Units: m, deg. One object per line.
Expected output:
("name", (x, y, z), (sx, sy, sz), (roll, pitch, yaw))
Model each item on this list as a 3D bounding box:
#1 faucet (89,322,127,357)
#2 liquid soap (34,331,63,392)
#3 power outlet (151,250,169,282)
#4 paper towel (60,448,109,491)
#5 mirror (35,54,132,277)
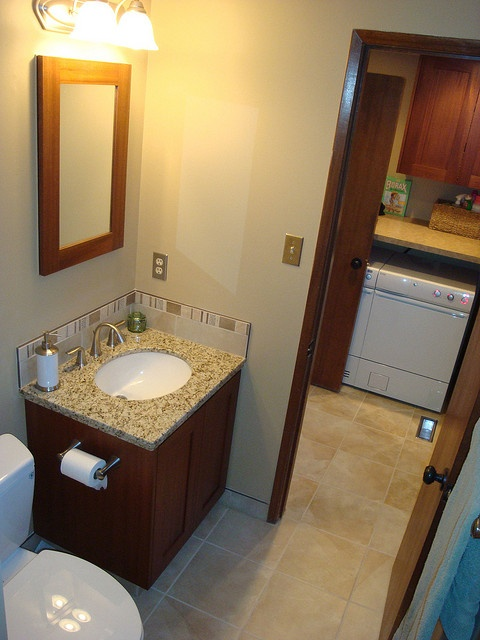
("faucet", (-0.550, 0.083, 2.021), (0.099, 0.145, 0.034), (27, 42, 20))
("liquid soap", (-0.650, 0.136, 1.660), (0.074, 0.244, 0.080), (0, 22, -23))
("power outlet", (-0.355, -0.245, 2.186), (0.075, 0.125, 0.022), (18, 22, 23))
("paper towel", (-0.517, 0.499, 1.633), (0.143, 0.135, 0.098), (20, 31, 14))
("mirror", (-0.521, -0.533, 1.684), (0.102, 0.695, 0.522), (12, 20, 8))
